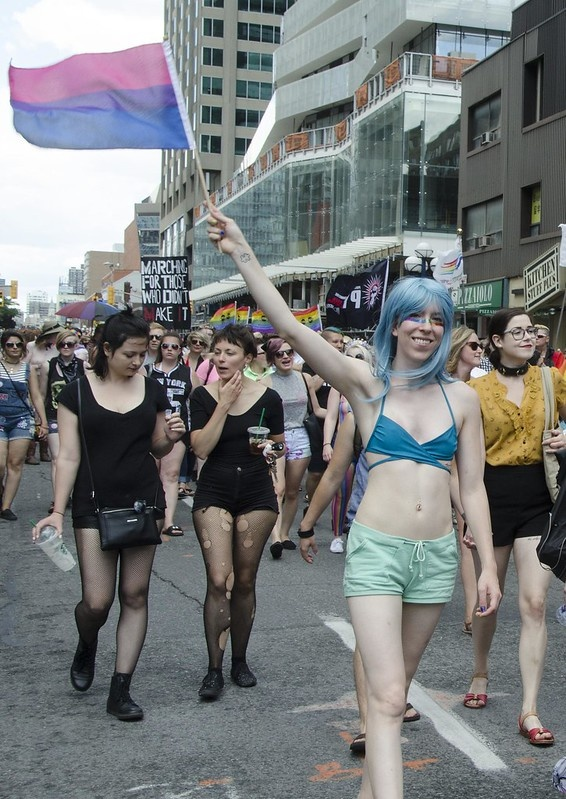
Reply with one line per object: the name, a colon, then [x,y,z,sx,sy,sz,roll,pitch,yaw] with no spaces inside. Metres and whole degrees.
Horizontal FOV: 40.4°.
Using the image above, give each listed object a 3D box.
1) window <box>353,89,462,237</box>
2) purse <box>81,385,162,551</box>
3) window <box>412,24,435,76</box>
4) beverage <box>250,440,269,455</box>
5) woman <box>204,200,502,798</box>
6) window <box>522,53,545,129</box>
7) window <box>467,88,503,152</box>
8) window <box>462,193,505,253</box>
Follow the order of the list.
window: [5.558,-10.052,35.593,3.440,5.711,6.361,-1,9,-11]
purse: [-0.758,0.327,3.616,0.362,0.734,0.079,-1,-8,-38]
window: [6.549,-16.248,36.685,0.066,2.174,2.305,1,6,-22]
beverage: [-0.129,0.263,4.218,0.090,0.062,0.089,3,2,26]
woman: [0.208,0.207,2.372,0.718,1.585,0.792,0,-3,34]
window: [8.136,-9.829,24.636,0.323,1.947,0.871,-7,13,-18]
window: [7.514,-9.965,27.640,0.231,1.540,2.255,-12,13,-15]
window: [7.372,-6.306,28.090,0.245,1.637,2.637,18,30,41]
